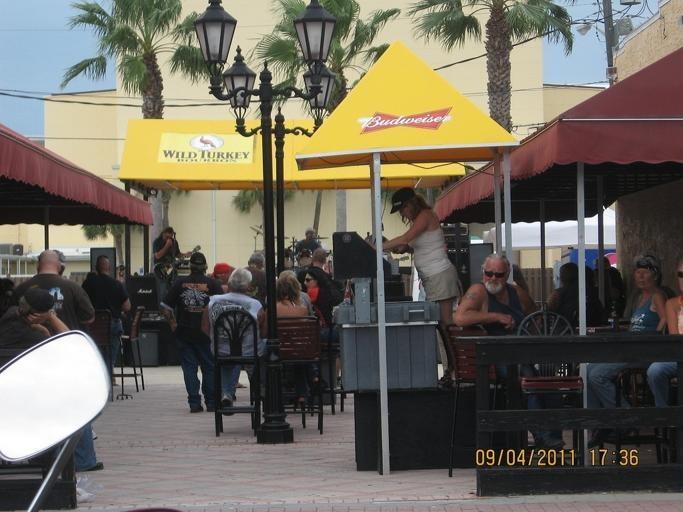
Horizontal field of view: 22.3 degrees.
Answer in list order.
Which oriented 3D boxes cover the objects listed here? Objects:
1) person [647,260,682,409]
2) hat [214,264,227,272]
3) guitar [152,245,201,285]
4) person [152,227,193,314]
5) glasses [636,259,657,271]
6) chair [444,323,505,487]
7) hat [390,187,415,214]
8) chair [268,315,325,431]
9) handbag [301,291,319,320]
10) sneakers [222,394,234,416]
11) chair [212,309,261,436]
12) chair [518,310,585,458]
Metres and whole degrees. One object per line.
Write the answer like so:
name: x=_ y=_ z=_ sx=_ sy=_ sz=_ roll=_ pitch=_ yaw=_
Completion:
person: x=4.476 y=1.015 z=23.687 sx=0.540 sy=2.011 sz=0.887 roll=-2 pitch=-6 yaw=10
hat: x=-2.038 y=0.172 z=28.965 sx=0.189 sy=0.105 sz=0.135 roll=-9 pitch=16 yaw=-24
guitar: x=-3.389 y=0.251 z=34.201 sx=0.315 sy=0.737 sz=1.246 roll=3 pitch=24 yaw=44
person: x=-3.346 y=0.265 z=34.368 sx=0.633 sy=1.793 sz=0.437 roll=-5 pitch=-11 yaw=-9
glasses: x=4.400 y=0.088 z=24.643 sx=0.203 sy=0.136 sz=0.212 roll=4 pitch=2 yaw=17
chair: x=1.624 y=1.947 z=23.633 sx=0.839 sy=2.033 sz=0.829 roll=-6 pitch=-8 yaw=36
hat: x=0.853 y=-0.815 z=24.987 sx=0.401 sy=0.212 sz=0.298 roll=-38 pitch=12 yaw=6
chair: x=-0.608 y=1.812 z=26.535 sx=0.815 sy=1.683 sz=1.003 roll=-3 pitch=-10 yaw=14
handbag: x=-0.516 y=0.739 z=27.549 sx=0.311 sy=0.587 sz=0.347 roll=-3 pitch=-1 yaw=-2
sneakers: x=-1.748 y=2.135 z=26.506 sx=0.140 sy=0.198 sz=0.462 roll=1 pitch=-47 yaw=-2
chair: x=-1.624 y=1.673 z=26.373 sx=0.673 sy=1.851 sz=0.720 roll=-1 pitch=2 yaw=6
chair: x=2.858 y=1.676 z=23.629 sx=0.859 sy=1.901 sz=1.080 roll=-2 pitch=1 yaw=6
